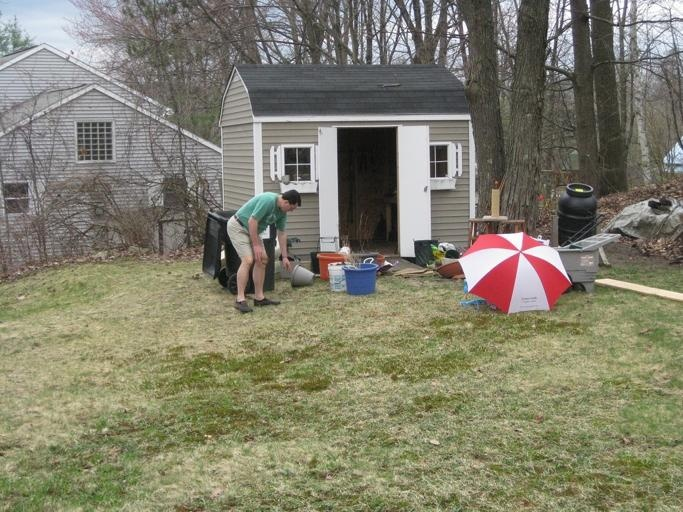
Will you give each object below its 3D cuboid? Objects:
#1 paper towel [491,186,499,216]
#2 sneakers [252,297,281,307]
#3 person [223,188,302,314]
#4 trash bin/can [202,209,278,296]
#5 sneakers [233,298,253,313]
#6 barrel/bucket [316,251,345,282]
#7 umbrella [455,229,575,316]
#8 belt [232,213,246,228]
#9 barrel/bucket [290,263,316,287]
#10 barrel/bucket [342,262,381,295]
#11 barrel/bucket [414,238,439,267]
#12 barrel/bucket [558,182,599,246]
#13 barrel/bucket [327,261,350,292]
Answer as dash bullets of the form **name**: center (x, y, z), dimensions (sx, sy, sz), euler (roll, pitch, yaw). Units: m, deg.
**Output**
- **paper towel**: center (2.782, -0.967, 12.276), dimensions (0.149, 0.510, 0.676), euler (2, 14, 13)
- **sneakers**: center (-1.157, 0.689, 10.442), dimensions (0.392, 0.160, 0.149), euler (-1, 4, -10)
- **person**: center (-1.182, -0.120, 10.284), dimensions (1.080, 1.801, 1.083), euler (-1, 13, 1)
- **trash bin/can**: center (-1.684, -0.136, 11.505), dimensions (1.210, 1.482, 1.290), euler (-4, 8, -17)
- **sneakers**: center (-1.448, 0.754, 10.093), dimensions (0.124, 0.119, 0.274), euler (-4, 7, -33)
- **barrel/bucket**: center (-0.221, 0.185, 12.164), dimensions (0.449, 0.379, 0.475), euler (1, 4, 0)
- **umbrella**: center (2.373, 0.239, 9.331), dimensions (1.371, 0.913, 0.699), euler (-3, 14, -6)
- **belt**: center (-1.511, -0.525, 10.023), dimensions (0.159, 0.132, 0.164), euler (-5, 23, -29)
- **barrel/bucket**: center (-0.661, 0.343, 11.724), dimensions (0.329, 0.446, 0.435), euler (9, 0, 7)
- **barrel/bucket**: center (0.313, 0.376, 11.101), dimensions (0.486, 0.399, 0.498), euler (-1, 5, 0)
- **barrel/bucket**: center (1.554, -0.032, 13.046), dimensions (0.515, 0.675, 0.408), euler (1, -3, -8)
- **barrel/bucket**: center (4.303, -0.700, 12.396), dimensions (0.670, 1.045, 0.264), euler (4, 14, 22)
- **barrel/bucket**: center (-0.059, 0.372, 11.189), dimensions (0.363, 0.430, 0.384), euler (0, 0, 0)
